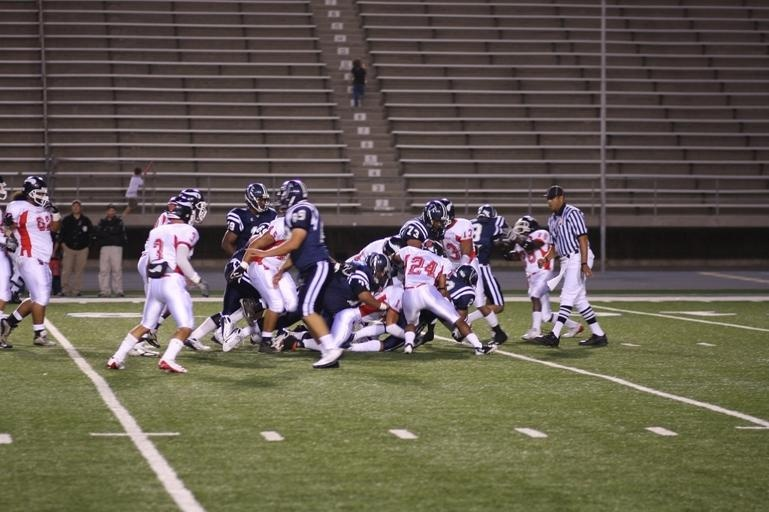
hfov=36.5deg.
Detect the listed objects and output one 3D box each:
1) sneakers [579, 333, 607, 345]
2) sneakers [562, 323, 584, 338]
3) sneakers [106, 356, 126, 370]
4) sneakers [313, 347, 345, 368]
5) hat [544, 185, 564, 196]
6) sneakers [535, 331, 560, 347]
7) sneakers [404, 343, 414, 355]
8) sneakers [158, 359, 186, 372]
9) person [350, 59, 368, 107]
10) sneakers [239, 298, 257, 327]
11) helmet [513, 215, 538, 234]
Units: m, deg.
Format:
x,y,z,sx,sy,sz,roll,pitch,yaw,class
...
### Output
x,y,z,sx,sy,sz,roll,pitch,yaw,class
3.336,1.339,18.458,0.514,0.165,0.161,0,0,12,sneakers
3.078,1.272,19.268,0.441,0.138,0.194,-26,-51,29,sneakers
-3.826,1.528,16.563,0.223,0.091,0.243,3,1,-10,sneakers
-0.743,1.476,16.737,0.248,0.168,0.560,26,-33,-37,sneakers
2.780,-1.019,18.428,0.430,0.170,0.233,0,1,-8,hat
2.548,1.300,18.051,0.504,0.172,0.172,5,0,4,sneakers
0.385,1.405,17.821,0.152,0.164,0.284,0,1,0,sneakers
-3.059,1.555,16.524,0.459,0.133,0.149,7,3,-1,sneakers
-0.678,-4.647,31.101,0.367,1.299,0.778,0,1,-2,person
-2.008,0.840,17.650,0.287,0.451,0.175,-15,15,4,sneakers
2.294,-0.493,19.019,0.446,0.268,0.275,14,-11,4,helmet
